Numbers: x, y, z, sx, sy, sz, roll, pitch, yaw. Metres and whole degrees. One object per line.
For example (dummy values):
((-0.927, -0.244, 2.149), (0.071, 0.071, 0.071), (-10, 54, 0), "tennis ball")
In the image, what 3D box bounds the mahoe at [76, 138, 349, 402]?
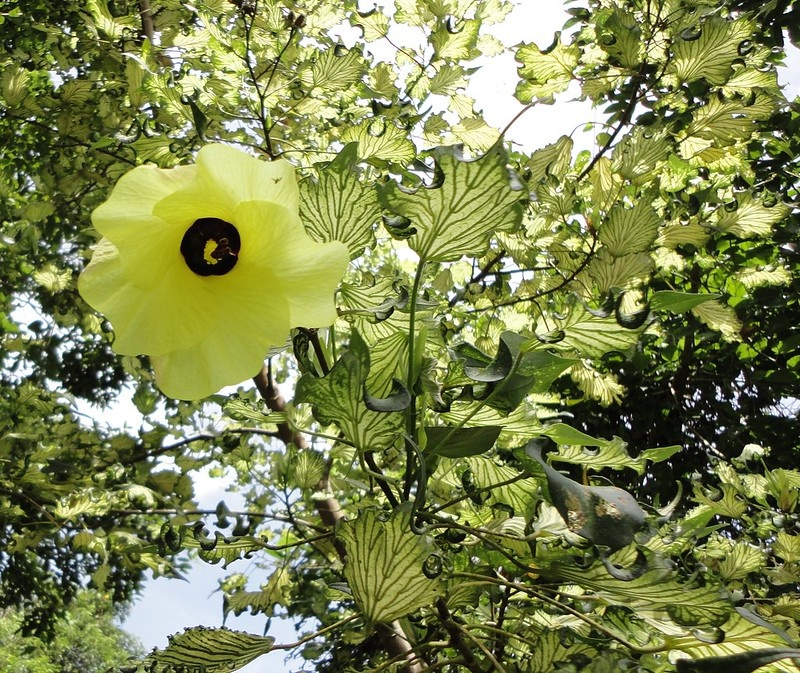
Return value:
((-0.321, -0.117, 1.792), (0.425, 0.151, 0.390), (-25, -63, 9), "mahoe")
